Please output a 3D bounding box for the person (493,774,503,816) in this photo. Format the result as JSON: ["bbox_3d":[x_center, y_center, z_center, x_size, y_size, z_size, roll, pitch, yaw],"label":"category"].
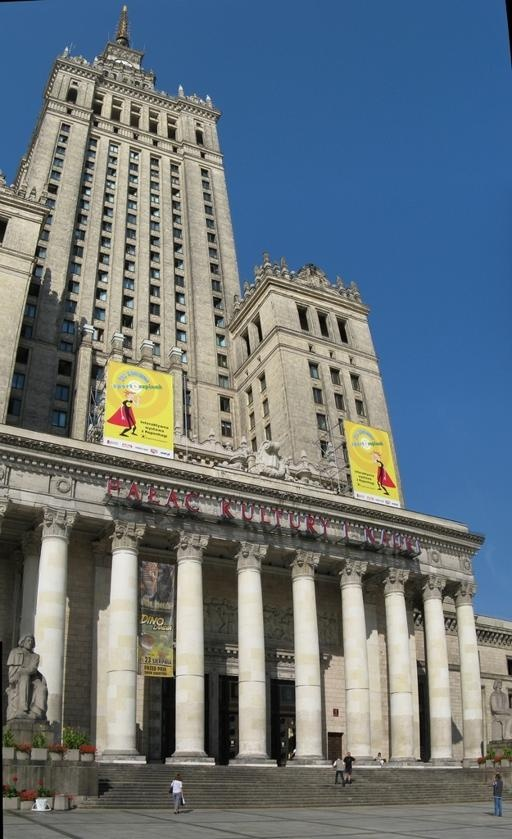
[{"bbox_3d":[8.726,13.621,28.038,0.364,1.346,2.751,-8,-26,14],"label":"person"}]

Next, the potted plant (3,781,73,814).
[{"bbox_3d":[-7.095,12.192,24.934,1.772,0.847,2.767,-5,-25,6],"label":"potted plant"}]
